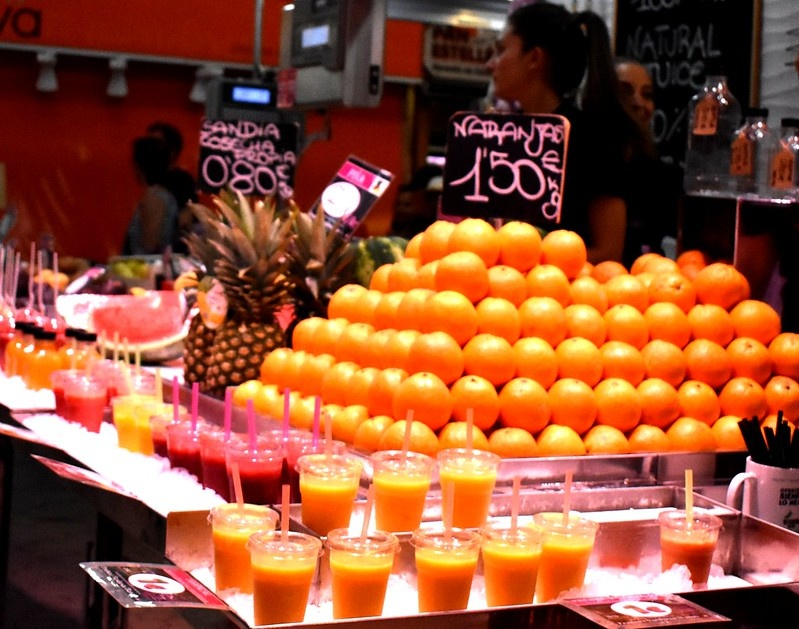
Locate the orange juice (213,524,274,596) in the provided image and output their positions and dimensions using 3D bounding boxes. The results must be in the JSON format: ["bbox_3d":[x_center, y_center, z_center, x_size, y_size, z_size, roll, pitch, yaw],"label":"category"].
[{"bbox_3d":[-0.348,0.527,1.746,0.143,0.182,0.135,1,-3,-5],"label":"orange juice"}]

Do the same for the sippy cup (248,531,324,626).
[{"bbox_3d":[-0.211,0.515,1.645,0.179,0.212,0.173,3,-3,0],"label":"sippy cup"}]

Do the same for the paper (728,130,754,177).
[{"bbox_3d":[1.517,-0.714,3.422,0.090,0.189,0.203,6,11,22],"label":"paper"}]

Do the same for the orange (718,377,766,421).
[{"bbox_3d":[1.079,0.263,2.432,0.116,0.156,0.124,7,-12,1],"label":"orange"}]

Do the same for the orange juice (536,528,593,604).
[{"bbox_3d":[0.384,0.583,1.764,0.133,0.176,0.149,7,-20,13],"label":"orange juice"}]

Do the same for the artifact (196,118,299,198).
[{"bbox_3d":[-0.761,-0.782,3.890,0.488,0.365,0.245,-1,10,-17],"label":"artifact"}]

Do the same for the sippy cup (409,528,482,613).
[{"bbox_3d":[0.098,0.530,1.702,0.150,0.181,0.158,3,-3,0],"label":"sippy cup"}]

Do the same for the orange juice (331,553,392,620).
[{"bbox_3d":[-0.079,0.540,1.604,0.123,0.152,0.130,3,-8,-4],"label":"orange juice"}]

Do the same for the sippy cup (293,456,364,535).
[{"bbox_3d":[-0.163,0.416,1.885,0.163,0.195,0.171,1,-1,0],"label":"sippy cup"}]

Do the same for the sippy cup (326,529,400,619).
[{"bbox_3d":[-0.079,0.532,1.670,0.153,0.182,0.165,3,-1,0],"label":"sippy cup"}]

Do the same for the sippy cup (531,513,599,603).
[{"bbox_3d":[0.380,0.575,1.768,0.139,0.185,0.155,-1,-11,-5],"label":"sippy cup"}]

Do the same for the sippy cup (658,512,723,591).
[{"bbox_3d":[0.702,0.562,1.853,0.162,0.153,0.165,-3,2,0],"label":"sippy cup"}]

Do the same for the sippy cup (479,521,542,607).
[{"bbox_3d":[0.238,0.539,1.735,0.147,0.177,0.157,0,-2,0],"label":"sippy cup"}]

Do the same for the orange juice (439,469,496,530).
[{"bbox_3d":[0.178,0.462,1.940,0.110,0.120,0.125,2,-5,13],"label":"orange juice"}]

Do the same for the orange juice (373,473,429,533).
[{"bbox_3d":[0.006,0.447,1.933,0.140,0.170,0.157,-2,12,-13],"label":"orange juice"}]

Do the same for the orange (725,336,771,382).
[{"bbox_3d":[1.123,0.136,2.522,0.126,0.170,0.133,-1,5,0],"label":"orange"}]

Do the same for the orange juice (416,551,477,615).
[{"bbox_3d":[0.098,0.556,1.689,0.122,0.151,0.130,5,-7,-3],"label":"orange juice"}]

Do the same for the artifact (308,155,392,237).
[{"bbox_3d":[-0.218,-0.473,3.270,0.214,0.414,0.052,21,-29,10],"label":"artifact"}]

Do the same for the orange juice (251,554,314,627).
[{"bbox_3d":[-0.225,0.543,1.579,0.121,0.151,0.131,2,-7,-1],"label":"orange juice"}]

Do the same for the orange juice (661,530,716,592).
[{"bbox_3d":[0.675,0.557,1.807,0.121,0.132,0.116,1,-3,17],"label":"orange juice"}]

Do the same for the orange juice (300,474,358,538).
[{"bbox_3d":[-0.171,0.467,1.917,0.133,0.163,0.134,0,5,-38],"label":"orange juice"}]

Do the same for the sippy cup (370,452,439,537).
[{"bbox_3d":[0.006,0.439,1.967,0.163,0.198,0.167,2,2,0],"label":"sippy cup"}]

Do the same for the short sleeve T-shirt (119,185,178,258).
[{"bbox_3d":[-2.181,-0.828,6.918,0.622,0.624,0.328,9,12,37],"label":"short sleeve T-shirt"}]

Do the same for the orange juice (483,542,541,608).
[{"bbox_3d":[0.234,0.553,1.653,0.125,0.158,0.133,1,-4,0],"label":"orange juice"}]

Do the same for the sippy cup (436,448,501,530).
[{"bbox_3d":[0.174,0.402,1.916,0.165,0.202,0.172,2,0,0],"label":"sippy cup"}]
